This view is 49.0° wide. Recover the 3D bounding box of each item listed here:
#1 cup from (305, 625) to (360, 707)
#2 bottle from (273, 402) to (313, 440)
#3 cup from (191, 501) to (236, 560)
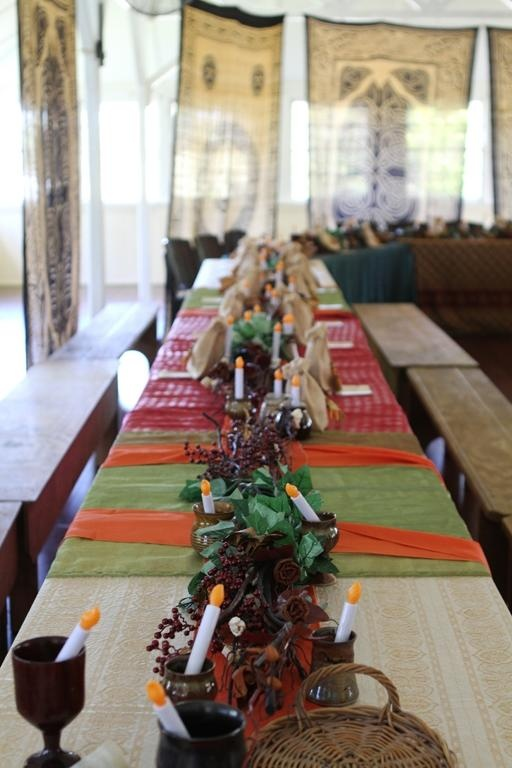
[{"bbox_3d":[0.095,0.358,0.712,0.064,0.090,0.063,-3,5,0],"label":"cup"},{"bbox_3d":[0.109,0.129,1.699,0.100,0.109,0.104,-2,15,-13],"label":"bottle"},{"bbox_3d":[-0.086,0.272,1.070,0.089,0.124,0.091,3,6,0],"label":"cup"}]
